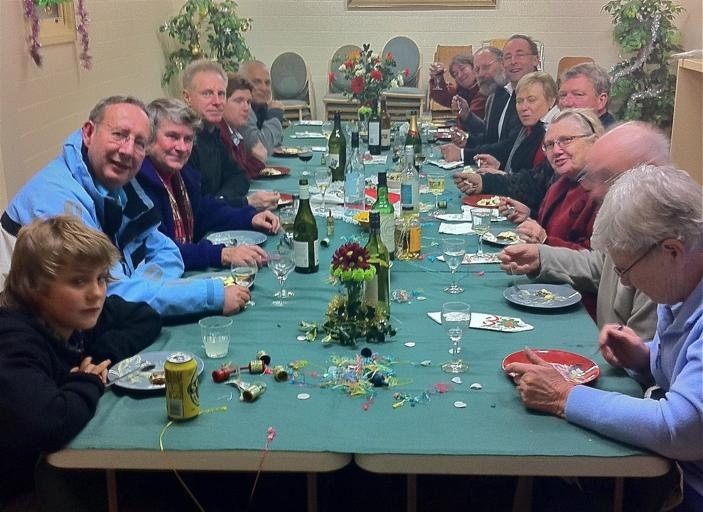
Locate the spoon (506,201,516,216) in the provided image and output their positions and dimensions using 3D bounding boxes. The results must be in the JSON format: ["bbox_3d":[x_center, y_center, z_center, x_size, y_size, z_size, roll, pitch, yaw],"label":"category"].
[{"bbox_3d":[0.852,-0.251,2.999,0.047,0.045,0.083,-39,-3,10],"label":"spoon"}]

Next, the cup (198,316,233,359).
[{"bbox_3d":[-0.434,0.260,1.867,0.121,0.127,0.124,0,14,0],"label":"cup"}]

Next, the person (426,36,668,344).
[{"bbox_3d":[0.985,-0.280,2.708,0.970,1.749,0.734,2,15,2],"label":"person"}]

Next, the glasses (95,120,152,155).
[{"bbox_3d":[-0.926,-0.492,2.284,0.174,0.173,0.140,19,7,39],"label":"glasses"}]

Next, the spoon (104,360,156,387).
[{"bbox_3d":[-0.667,0.351,1.694,0.160,0.028,0.047,-22,33,-38],"label":"spoon"}]

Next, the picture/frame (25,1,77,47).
[{"bbox_3d":[-2.498,-1.838,4.662,0.109,0.445,0.467,5,14,25],"label":"picture/frame"}]

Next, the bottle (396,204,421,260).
[{"bbox_3d":[0.250,-0.113,2.607,0.128,0.229,0.133,-1,17,0],"label":"bottle"}]

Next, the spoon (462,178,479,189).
[{"bbox_3d":[0.773,-0.462,3.621,0.094,0.066,0.065,-2,3,-13],"label":"spoon"}]

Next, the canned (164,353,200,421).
[{"bbox_3d":[-0.463,0.350,1.523,0.093,0.175,0.080,-10,20,-21],"label":"canned"}]

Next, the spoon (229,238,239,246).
[{"bbox_3d":[-0.574,-0.065,2.730,0.043,0.011,0.044,9,18,30],"label":"spoon"}]

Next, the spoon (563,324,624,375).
[{"bbox_3d":[0.761,0.295,1.746,0.161,0.120,0.027,-22,-12,15],"label":"spoon"}]
